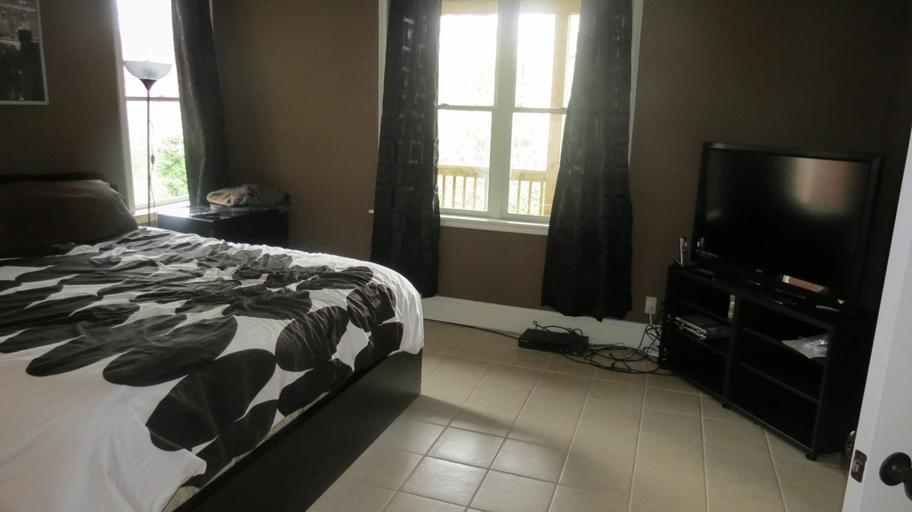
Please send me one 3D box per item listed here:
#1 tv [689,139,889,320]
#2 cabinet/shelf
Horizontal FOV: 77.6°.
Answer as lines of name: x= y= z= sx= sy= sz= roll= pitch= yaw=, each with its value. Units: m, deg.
tv: x=2.478 y=-0.199 z=4.130 sx=1.414 sy=1.098 sz=0.145 roll=11 pitch=8 yaw=42
cabinet/shelf: x=2.258 y=0.774 z=4.048 sx=0.447 sy=0.769 sz=1.269 roll=-2 pitch=14 yaw=-24
